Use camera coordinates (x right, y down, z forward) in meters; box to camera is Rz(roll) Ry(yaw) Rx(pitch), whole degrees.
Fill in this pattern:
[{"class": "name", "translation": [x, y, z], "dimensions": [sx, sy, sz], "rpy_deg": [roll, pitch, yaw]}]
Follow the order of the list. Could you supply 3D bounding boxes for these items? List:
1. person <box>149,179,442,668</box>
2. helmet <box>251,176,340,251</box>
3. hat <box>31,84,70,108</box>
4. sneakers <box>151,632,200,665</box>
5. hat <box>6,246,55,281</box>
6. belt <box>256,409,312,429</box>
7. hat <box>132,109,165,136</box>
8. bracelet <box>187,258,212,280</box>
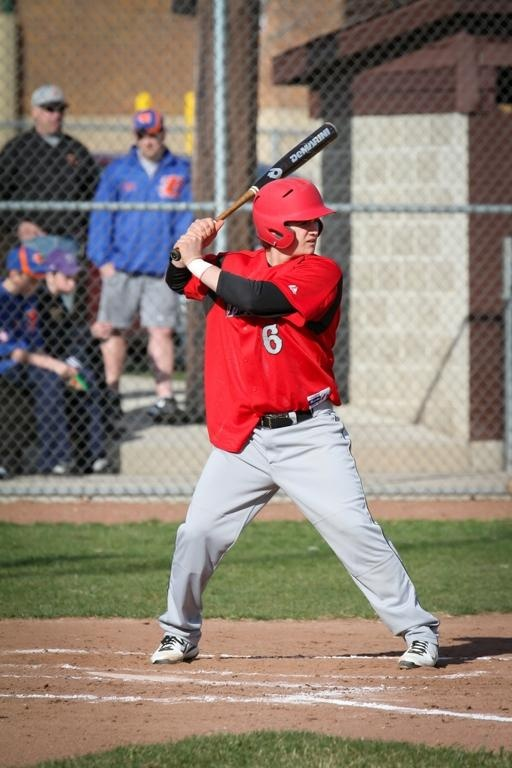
[{"class": "person", "translation": [0.113, 0.137, 3.551], "dimensions": [0.926, 1.616, 0.447], "rpy_deg": [1, 7, 2]}, {"class": "helmet", "translation": [0.110, -0.561, 3.559], "dimensions": [0.262, 0.197, 0.209], "rpy_deg": [19, 32, 41]}, {"class": "hat", "translation": [-1.026, -1.415, 5.366], "dimensions": [0.166, 0.117, 0.109], "rpy_deg": [0, 6, -2]}, {"class": "sneakers", "translation": [-0.267, 0.880, 3.665], "dimensions": [0.075, 0.076, 0.189], "rpy_deg": [-8, -10, 41]}, {"class": "hat", "translation": [-1.122, -0.594, 5.357], "dimensions": [0.180, 0.162, 0.150], "rpy_deg": [-1, 6, -15]}, {"class": "belt", "translation": [0.088, 0.111, 3.467], "dimensions": [0.169, 0.058, 0.041], "rpy_deg": [1, 6, 1]}, {"class": "hat", "translation": [-0.546, -1.384, 5.767], "dimensions": [0.114, 0.121, 0.161], "rpy_deg": [29, 40, 36]}, {"class": "bracelet", "translation": [-0.179, -0.364, 3.452], "dimensions": [0.055, 0.060, 0.096], "rpy_deg": [-2, 6, -20]}]
